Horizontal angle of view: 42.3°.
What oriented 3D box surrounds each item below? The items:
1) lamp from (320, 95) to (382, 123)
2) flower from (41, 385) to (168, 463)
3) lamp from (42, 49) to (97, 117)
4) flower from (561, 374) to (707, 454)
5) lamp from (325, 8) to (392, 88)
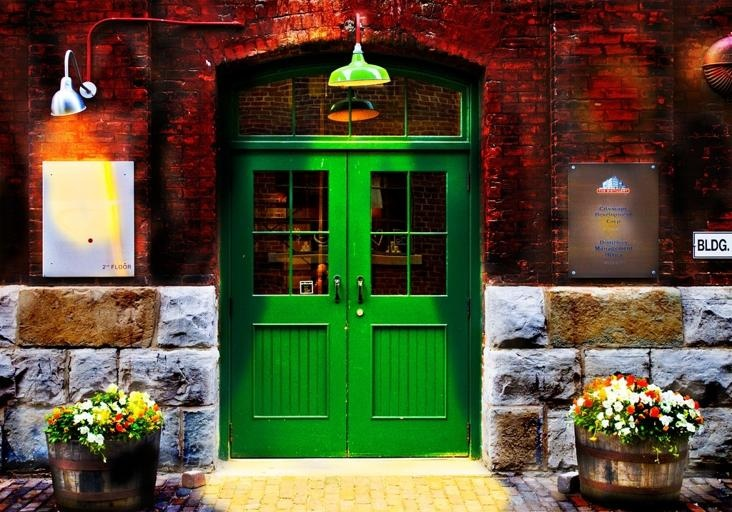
[{"bbox_3d":[-0.148,-1.352,8.896,0.325,0.133,0.315,-1,-1,-33],"label":"lamp"},{"bbox_3d":[-2.139,1.430,8.005,0.765,0.372,0.764,24,24,39],"label":"flower"},{"bbox_3d":[-2.632,-1.560,8.461,0.374,0.629,0.295,0,-2,-6],"label":"lamp"},{"bbox_3d":[2.297,1.332,8.181,0.982,0.511,0.880,11,-5,-20],"label":"flower"},{"bbox_3d":[0.001,-1.843,8.541,0.670,0.640,0.671,-6,6,-44],"label":"lamp"}]
